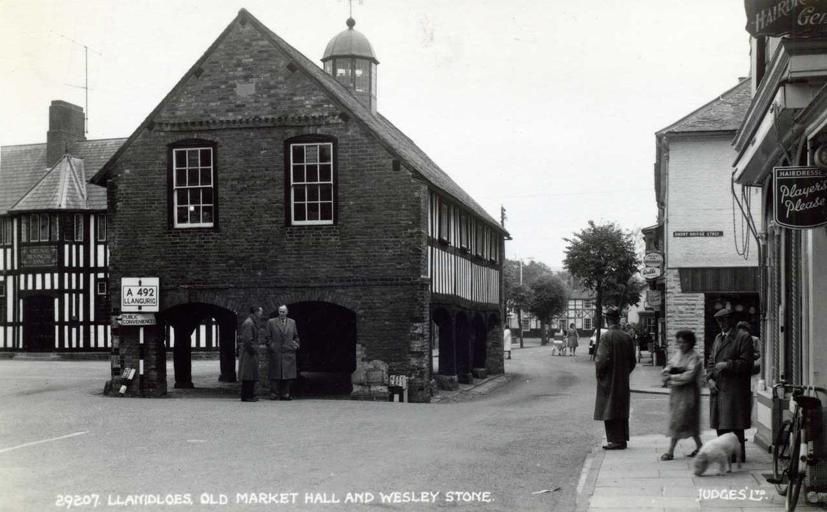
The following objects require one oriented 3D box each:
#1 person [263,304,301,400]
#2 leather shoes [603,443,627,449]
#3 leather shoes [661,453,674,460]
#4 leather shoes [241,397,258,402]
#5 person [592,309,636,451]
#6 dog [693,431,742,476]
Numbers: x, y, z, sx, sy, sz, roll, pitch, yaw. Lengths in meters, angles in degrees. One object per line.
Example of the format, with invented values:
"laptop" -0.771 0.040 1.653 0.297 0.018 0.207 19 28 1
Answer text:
"person" -3.639 2.670 31.551 0.838 2.645 0.781 -1 -6 -7
"leather shoes" 4.285 4.011 23.821 0.485 0.160 0.171 3 -4 9
"leather shoes" 5.206 4.070 22.920 0.288 0.070 0.109 -1 -6 -27
"leather shoes" -4.513 3.987 31.302 0.452 0.172 0.143 -1 -7 1
"person" 4.240 2.581 23.803 0.784 2.973 0.739 -4 -6 20
"dog" 5.976 3.826 21.845 1.102 0.791 0.428 2 -7 -30
